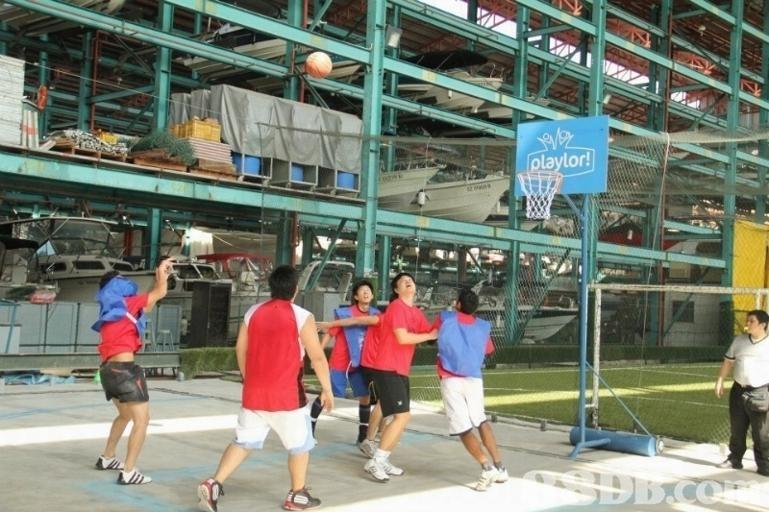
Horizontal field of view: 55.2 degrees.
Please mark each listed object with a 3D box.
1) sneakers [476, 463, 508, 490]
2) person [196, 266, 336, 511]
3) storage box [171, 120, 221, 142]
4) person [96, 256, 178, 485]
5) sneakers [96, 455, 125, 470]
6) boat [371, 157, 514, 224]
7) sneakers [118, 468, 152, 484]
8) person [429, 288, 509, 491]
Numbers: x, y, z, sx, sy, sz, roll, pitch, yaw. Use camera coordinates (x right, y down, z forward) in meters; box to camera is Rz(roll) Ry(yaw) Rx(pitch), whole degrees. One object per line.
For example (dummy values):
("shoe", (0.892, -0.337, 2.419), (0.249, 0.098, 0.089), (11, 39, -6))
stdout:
("sneakers", (1.466, 3.102, 10.225), (0.614, 0.255, 0.215), (-4, -24, -39))
("person", (-1.409, 1.701, 9.336), (1.468, 3.154, 0.345), (2, -1, -5))
("storage box", (-5.710, -3.839, 22.252), (0.936, 0.443, 0.945), (1, 1, 16))
("person", (-3.522, 1.568, 10.064), (1.080, 2.103, 0.503), (1, -1, 21))
("sneakers", (-3.898, 2.952, 10.443), (0.485, 0.198, 0.167), (3, -3, -20))
("boat", (1.984, -2.109, 24.303), (5.173, 1.833, 1.873), (7, -10, 26))
("sneakers", (-3.392, 3.026, 10.029), (0.491, 0.200, 0.179), (2, -1, -16))
("person", (1.180, 1.877, 10.305), (0.892, 2.768, 0.259), (1, -1, 9))
